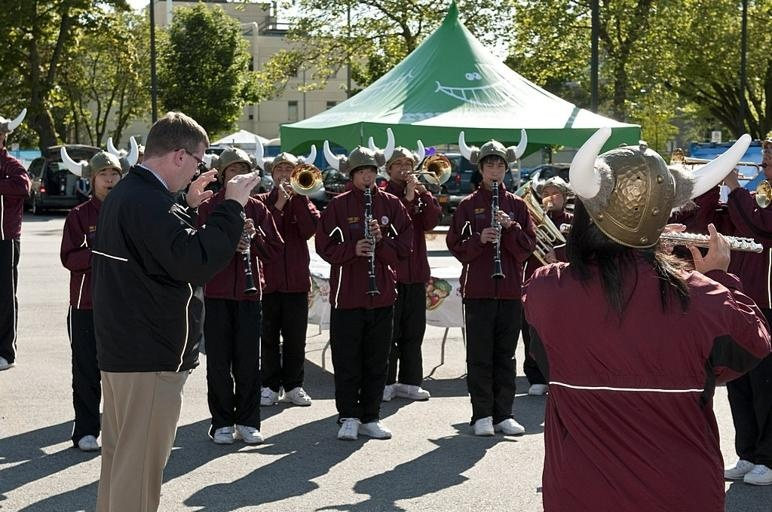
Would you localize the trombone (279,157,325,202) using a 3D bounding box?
[{"bbox_3d":[-0.951,-0.835,12.106,0.390,0.364,0.373,22,-16,-17],"label":"trombone"}]
